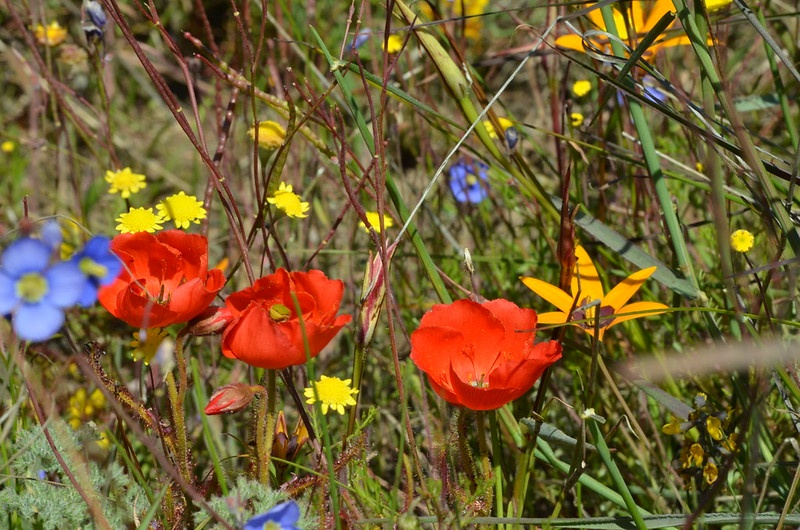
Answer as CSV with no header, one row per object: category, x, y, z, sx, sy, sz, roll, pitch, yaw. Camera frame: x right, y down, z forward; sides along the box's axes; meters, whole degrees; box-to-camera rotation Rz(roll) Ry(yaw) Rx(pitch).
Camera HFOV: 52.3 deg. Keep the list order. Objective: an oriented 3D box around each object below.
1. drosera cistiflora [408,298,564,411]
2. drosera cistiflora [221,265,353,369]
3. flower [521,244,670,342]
drosera cistiflora,0.180,0.193,1.735,0.316,0.145,0.213,-7,42,-1
drosera cistiflora,-0.245,0.110,1.716,0.212,0.127,0.227,-17,48,-8
flower,0.413,0.073,1.786,0.226,0.082,0.255,27,51,23
